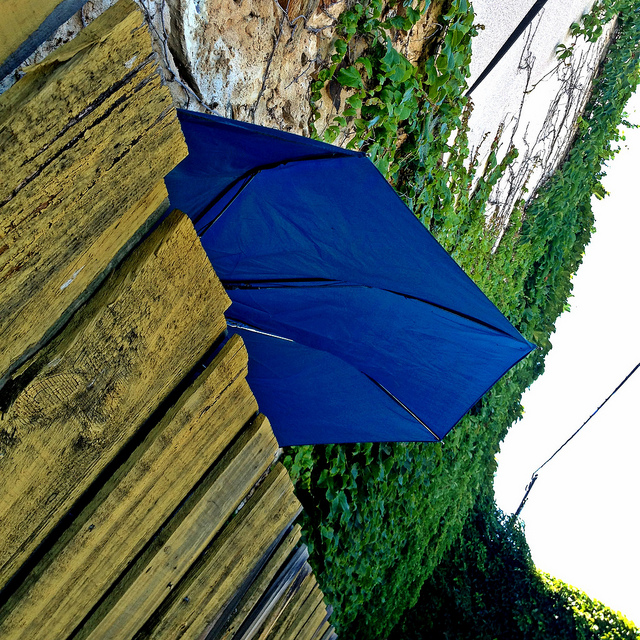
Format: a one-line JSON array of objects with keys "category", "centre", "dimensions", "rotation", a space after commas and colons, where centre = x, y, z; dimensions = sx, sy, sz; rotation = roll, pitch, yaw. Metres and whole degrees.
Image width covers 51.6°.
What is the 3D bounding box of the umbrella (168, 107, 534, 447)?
[{"category": "umbrella", "centre": [0.067, -0.128, 2.092], "dimensions": [0.396, 1.127, 1.183], "rotation": [-31, -81, 21]}]
